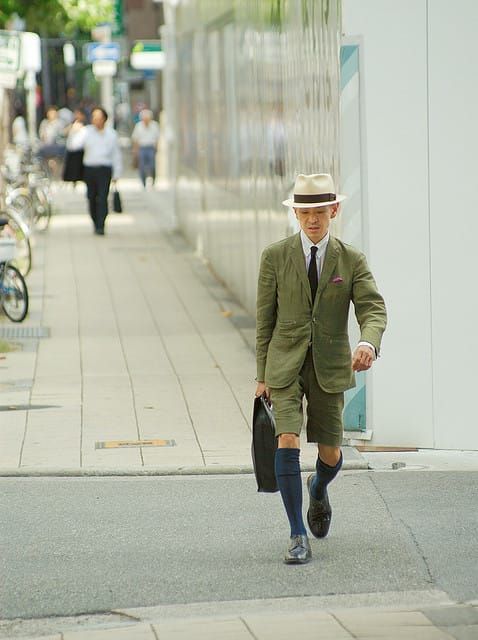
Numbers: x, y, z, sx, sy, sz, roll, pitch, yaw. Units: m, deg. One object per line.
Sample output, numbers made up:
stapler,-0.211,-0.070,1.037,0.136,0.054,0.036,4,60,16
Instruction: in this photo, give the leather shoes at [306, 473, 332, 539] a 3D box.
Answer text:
leather shoes,0.364,0.860,3.745,0.105,0.310,0.119,-2,-4,4

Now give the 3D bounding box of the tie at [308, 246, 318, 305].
tie,0.308,-0.192,3.398,0.043,0.243,0.019,1,2,4

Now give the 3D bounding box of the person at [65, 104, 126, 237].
person,-2.635,-2.829,15.304,0.764,2.416,0.547,1,2,6

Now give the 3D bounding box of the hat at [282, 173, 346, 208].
hat,0.316,-0.546,3.373,0.222,0.157,0.207,2,3,6

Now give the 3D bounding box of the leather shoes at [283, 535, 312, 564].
leather shoes,0.247,0.962,3.373,0.065,0.061,0.147,0,3,6

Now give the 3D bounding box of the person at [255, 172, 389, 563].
person,0.355,0.213,3.448,0.516,1.676,0.626,1,3,-12
